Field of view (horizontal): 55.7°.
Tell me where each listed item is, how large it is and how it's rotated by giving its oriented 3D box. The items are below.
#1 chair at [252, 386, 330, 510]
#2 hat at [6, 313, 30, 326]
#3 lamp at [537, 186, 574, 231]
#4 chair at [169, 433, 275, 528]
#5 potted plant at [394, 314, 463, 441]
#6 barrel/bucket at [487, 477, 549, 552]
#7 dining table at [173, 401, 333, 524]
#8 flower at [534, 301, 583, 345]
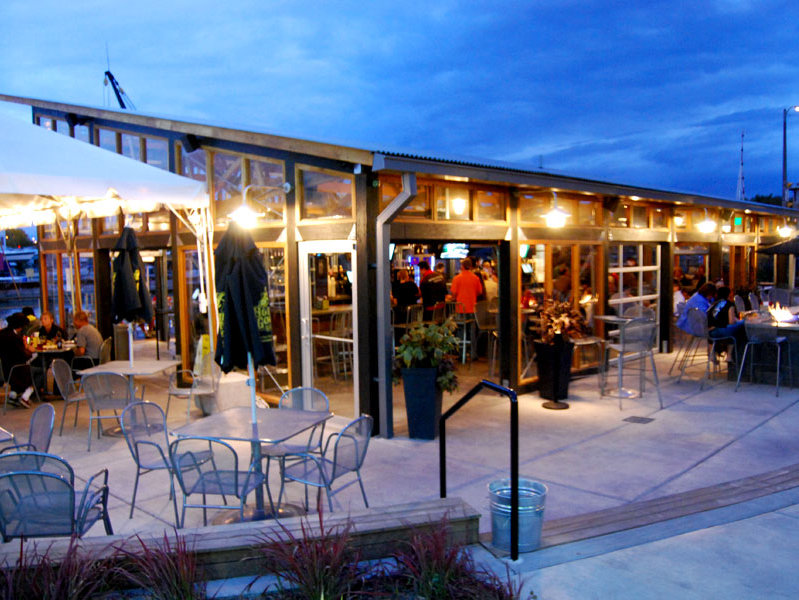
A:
[{"bbox_3d":[-1.039,1.472,7.355,0.580,0.863,0.512,0,8,-15],"label":"chair"},{"bbox_3d":[-5.809,0.309,11.548,0.298,0.076,0.298,5,5,5],"label":"hat"},{"bbox_3d":[2.497,-1.432,12.113,0.599,0.756,0.581,-9,11,-41],"label":"lamp"},{"bbox_3d":[-1.969,1.648,7.428,0.586,0.878,0.616,-14,-37,-12],"label":"chair"},{"bbox_3d":[0.510,0.965,9.876,1.066,1.636,1.091,5,-5,-26],"label":"potted plant"},{"bbox_3d":[1.016,1.841,6.469,0.495,0.414,0.547,0,-1,2],"label":"barrel/bucket"},{"bbox_3d":[-1.375,1.344,7.227,1.117,0.921,1.258,1,6,15],"label":"dining table"},{"bbox_3d":[2.396,0.317,11.281,0.624,0.579,0.373,-1,4,16],"label":"flower"}]
